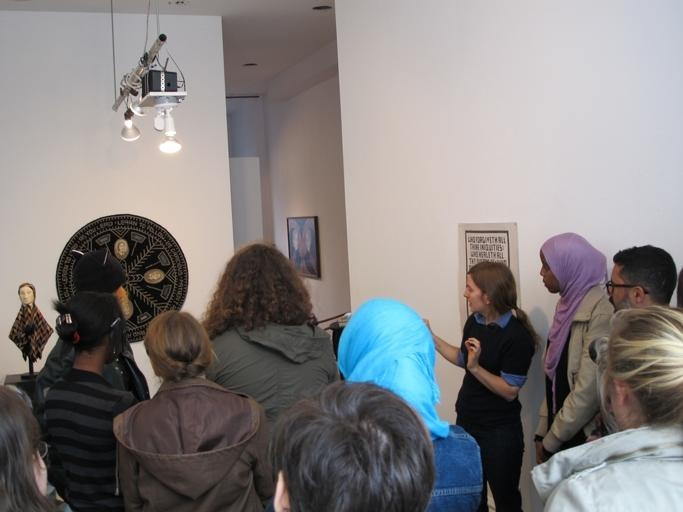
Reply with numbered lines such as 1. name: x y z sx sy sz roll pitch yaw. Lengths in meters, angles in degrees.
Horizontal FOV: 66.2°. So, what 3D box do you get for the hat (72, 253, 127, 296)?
1. hat: -1.567 0.090 3.405 0.330 0.285 0.473 -7 11 -26
